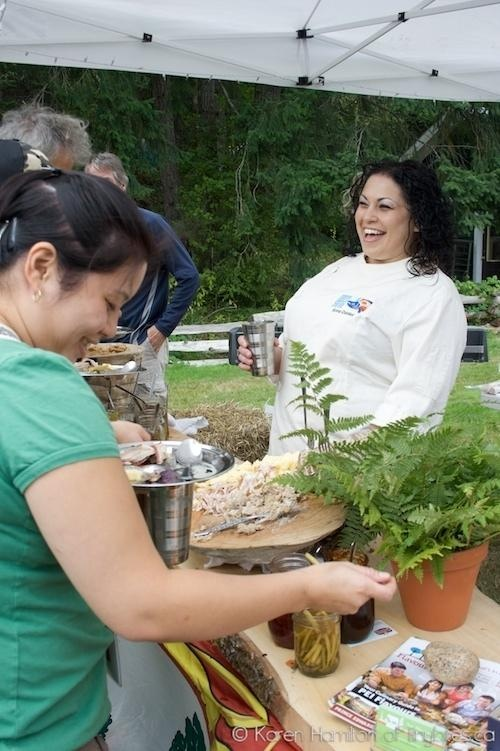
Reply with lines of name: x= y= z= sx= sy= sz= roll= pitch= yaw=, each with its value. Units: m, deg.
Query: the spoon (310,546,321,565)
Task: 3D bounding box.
spoon: x=0.163 y=0.456 z=1.621 sx=0.036 sy=0.030 sz=0.009 roll=8 pitch=-14 yaw=-39

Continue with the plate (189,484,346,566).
plate: x=0.063 y=0.396 z=1.571 sx=0.277 sy=0.062 sz=0.231 roll=-6 pitch=0 yaw=-20

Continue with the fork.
fork: x=-0.008 y=0.380 z=1.696 sx=0.222 sy=0.030 sz=0.036 roll=-14 pitch=6 yaw=-30

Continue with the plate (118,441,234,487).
plate: x=-0.179 y=0.211 z=1.530 sx=0.180 sy=0.050 sz=0.168 roll=1 pitch=7 yaw=-28
